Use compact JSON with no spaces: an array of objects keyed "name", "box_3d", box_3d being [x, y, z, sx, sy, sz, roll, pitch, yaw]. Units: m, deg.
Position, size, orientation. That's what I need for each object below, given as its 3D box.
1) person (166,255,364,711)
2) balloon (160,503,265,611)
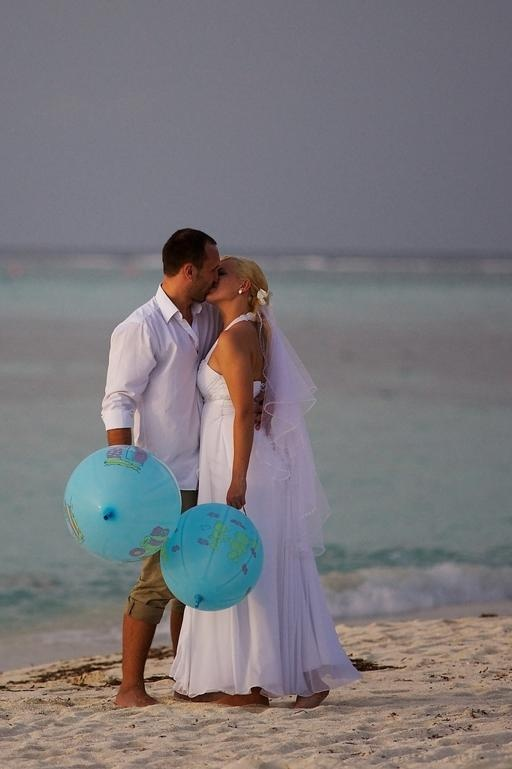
[{"name":"person","box_3d":[-0.002,0.448,5.389,0.827,2.018,0.652,-3,12,-11]},{"name":"balloon","box_3d":[-0.148,0.745,5.208,0.388,0.353,0.487,3,11,25]}]
